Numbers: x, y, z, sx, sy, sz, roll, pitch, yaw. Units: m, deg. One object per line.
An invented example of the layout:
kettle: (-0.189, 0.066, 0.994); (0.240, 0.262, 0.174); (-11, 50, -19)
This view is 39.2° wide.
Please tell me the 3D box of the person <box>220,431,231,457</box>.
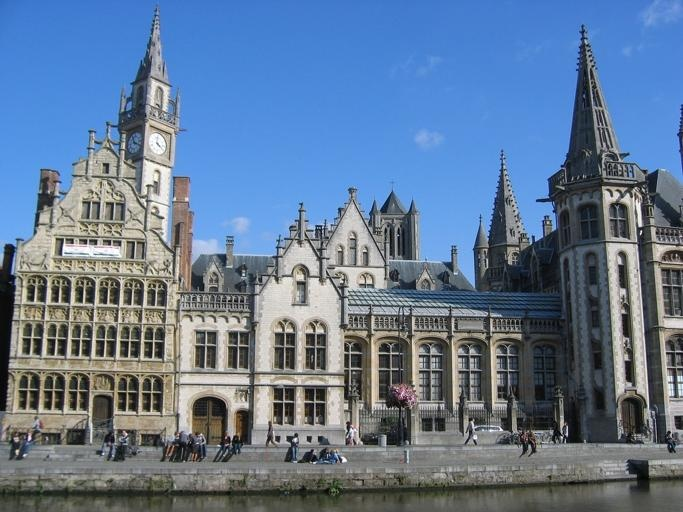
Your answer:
person: (-7.709, 12.742, 64.781); (0.628, 1.621, 0.864); (1, -14, -8)

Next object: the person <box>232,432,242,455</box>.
person: (-7.087, 12.597, 65.084); (0.592, 1.323, 1.171); (1, -15, -7)

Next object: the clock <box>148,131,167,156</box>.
clock: (-17.272, -10.615, 89.920); (0.104, 2.097, 1.970); (-14, 8, 22)

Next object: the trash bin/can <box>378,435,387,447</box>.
trash bin/can: (2.971, 13.082, 69.157); (0.604, 0.754, 0.655); (2, -16, -1)

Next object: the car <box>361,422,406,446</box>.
car: (3.025, 13.438, 73.269); (2.442, 0.954, 1.655); (-6, -28, 7)
